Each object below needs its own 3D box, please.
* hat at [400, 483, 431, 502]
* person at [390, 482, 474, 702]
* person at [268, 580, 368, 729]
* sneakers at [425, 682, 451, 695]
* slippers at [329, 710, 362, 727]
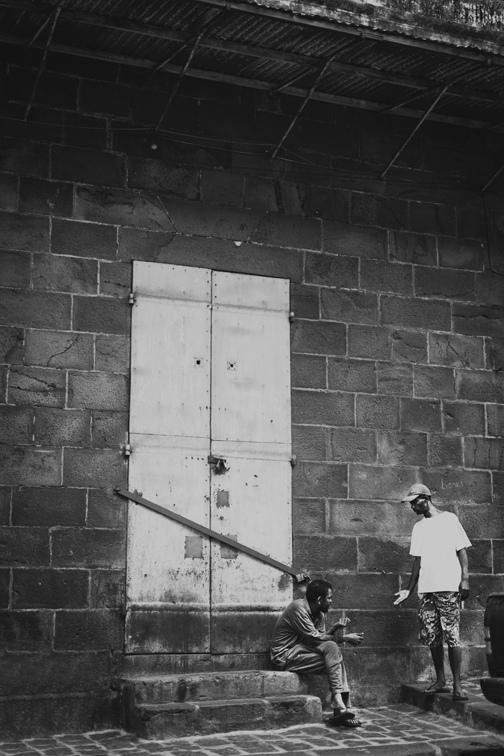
[{"bbox_3d":[1.280,0.858,10.763,0.226,0.150,0.155,2,-12,-23],"label":"hat"},{"bbox_3d":[1.389,1.616,10.667,0.529,1.606,0.868,4,-9,-16],"label":"person"},{"bbox_3d":[0.524,2.000,10.328,0.521,1.077,0.940,6,-10,-31],"label":"person"},{"bbox_3d":[1.416,2.351,10.597,0.195,0.168,0.082,0,-14,8],"label":"sneakers"},{"bbox_3d":[0.655,2.408,9.891,0.243,0.126,0.100,0,-18,-4],"label":"slippers"}]
